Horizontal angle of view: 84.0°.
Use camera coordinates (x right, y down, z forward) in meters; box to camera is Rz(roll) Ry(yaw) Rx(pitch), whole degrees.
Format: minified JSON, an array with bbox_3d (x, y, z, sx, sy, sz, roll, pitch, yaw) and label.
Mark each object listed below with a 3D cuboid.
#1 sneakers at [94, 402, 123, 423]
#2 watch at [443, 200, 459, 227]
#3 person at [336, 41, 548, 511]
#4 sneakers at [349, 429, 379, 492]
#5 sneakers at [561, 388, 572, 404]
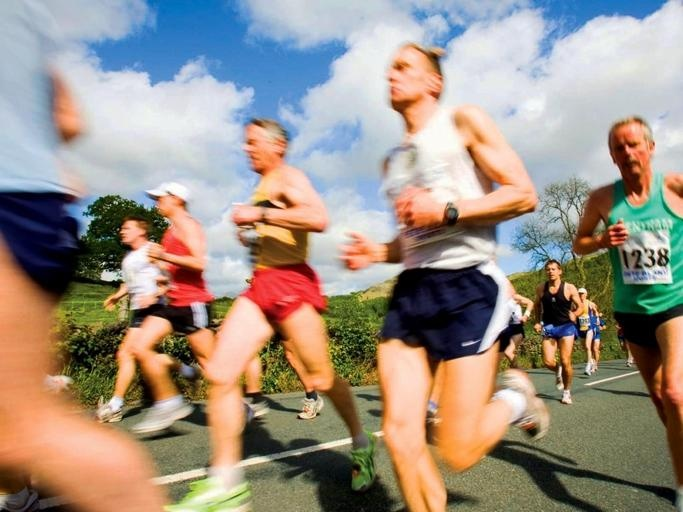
[{"bbox_3d":[-2.705,1.866,4.524,0.369,0.162,0.172,21,-16,-26],"label":"sneakers"},{"bbox_3d":[0.543,-0.206,1.887,0.082,0.109,0.106,1,-3,8],"label":"watch"},{"bbox_3d":[0.569,-0.058,2.092,0.913,2.460,0.566,-6,-5,0],"label":"person"},{"bbox_3d":[0.187,1.570,2.945,0.148,0.189,0.450,-29,10,27],"label":"sneakers"},{"bbox_3d":[3.811,2.430,6.495,0.152,0.193,0.439,-11,-24,29],"label":"sneakers"}]
